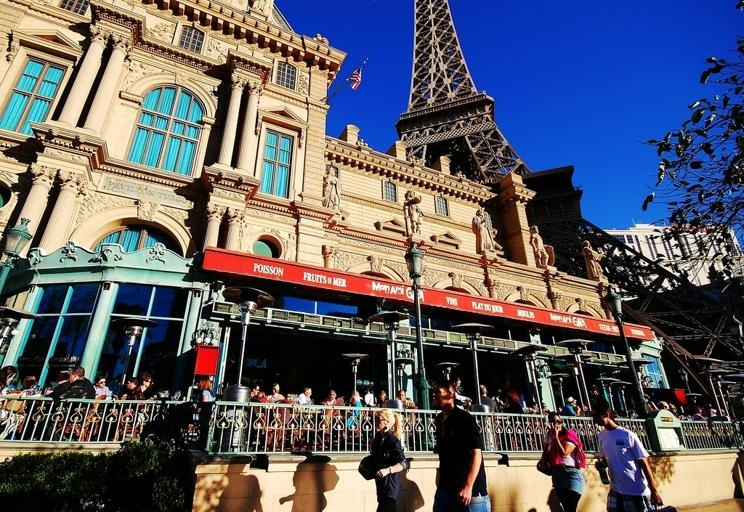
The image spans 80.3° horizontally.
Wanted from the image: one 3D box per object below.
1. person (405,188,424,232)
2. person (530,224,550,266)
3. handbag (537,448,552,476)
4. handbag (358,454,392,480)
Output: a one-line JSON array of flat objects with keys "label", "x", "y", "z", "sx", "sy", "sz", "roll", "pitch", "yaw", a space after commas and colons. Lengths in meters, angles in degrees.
[{"label": "person", "x": 2.258, "y": -2.438, "z": 24.493, "sx": 0.879, "sy": 3.039, "sz": 0.714, "roll": -2, "pitch": -28, "yaw": 1}, {"label": "person", "x": 10.513, "y": -0.646, "z": 27.987, "sx": 0.848, "sy": 3.436, "sz": 1.022, "roll": -15, "pitch": -30, "yaw": 23}, {"label": "handbag", "x": 3.583, "y": 4.302, "z": 9.234, "sx": 0.292, "sy": 0.545, "sz": 0.851, "roll": -10, "pitch": -26, "yaw": 15}, {"label": "handbag", "x": 0.033, "y": 3.909, "z": 8.101, "sx": 0.392, "sy": 0.160, "sz": 0.527, "roll": -29, "pitch": -51, "yaw": 32}]
